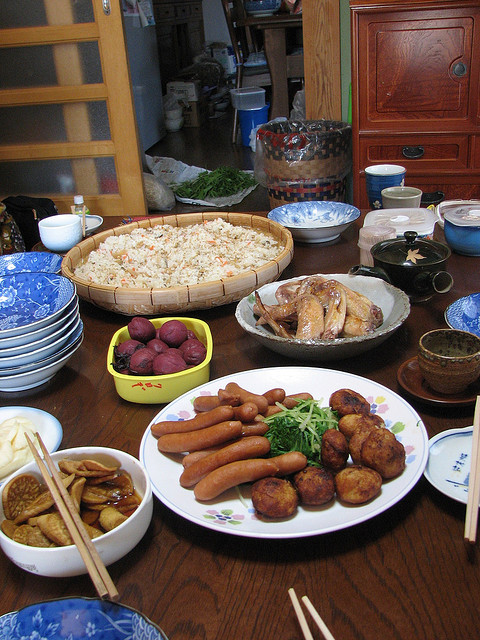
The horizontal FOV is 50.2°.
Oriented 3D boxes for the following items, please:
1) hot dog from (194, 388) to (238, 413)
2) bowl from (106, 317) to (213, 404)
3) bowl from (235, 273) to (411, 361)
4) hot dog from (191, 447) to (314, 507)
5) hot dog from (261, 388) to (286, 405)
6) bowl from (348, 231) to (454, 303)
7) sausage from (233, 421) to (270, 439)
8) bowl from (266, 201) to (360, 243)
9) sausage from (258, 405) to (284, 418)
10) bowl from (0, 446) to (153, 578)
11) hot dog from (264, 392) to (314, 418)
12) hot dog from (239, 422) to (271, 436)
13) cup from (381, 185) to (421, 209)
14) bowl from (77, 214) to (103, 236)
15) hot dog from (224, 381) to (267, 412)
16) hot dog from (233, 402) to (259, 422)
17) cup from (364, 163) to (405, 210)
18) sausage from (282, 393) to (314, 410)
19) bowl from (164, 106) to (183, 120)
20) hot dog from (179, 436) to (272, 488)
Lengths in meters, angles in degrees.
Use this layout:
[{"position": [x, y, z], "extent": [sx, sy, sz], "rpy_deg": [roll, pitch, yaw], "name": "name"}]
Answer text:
[{"position": [-0.036, 0.115, 0.731], "extent": [0.086, 0.023, 0.028], "rpy_deg": [-14, -20, 41], "name": "hot dog"}, {"position": [-0.140, 0.065, 0.929], "extent": [0.181, 0.093, 0.239], "rpy_deg": [-7, 23, -4], "name": "bowl"}, {"position": [0.147, -0.014, 0.952], "extent": [0.228, 0.084, 0.218], "rpy_deg": [-5, 23, 2], "name": "bowl"}, {"position": [0.012, 0.179, 0.594], "extent": [0.145, 0.036, 0.033], "rpy_deg": [-8, 25, -13], "name": "hot dog"}, {"position": [0.051, 0.110, 0.743], "extent": [0.035, 0.018, 0.017], "rpy_deg": [-11, -12, 11], "name": "hot dog"}, {"position": [0.415, -0.151, 1.162], "extent": [0.202, 0.150, 0.262], "rpy_deg": [-10, 19, -25], "name": "bowl"}, {"position": [0.019, 0.142, 0.669], "extent": [0.038, 0.012, 0.017], "rpy_deg": [-6, 25, -5], "name": "sausage"}, {"position": [0.235, -0.306, 1.548], "extent": [0.283, 0.133, 0.275], "rpy_deg": [-7, 23, 3], "name": "bowl"}, {"position": [0.045, 0.127, 0.727], "extent": [0.029, 0.015, 0.014], "rpy_deg": [-10, 55, -15], "name": "sausage"}, {"position": [-0.163, 0.170, 0.559], "extent": [0.145, 0.064, 0.143], "rpy_deg": [-2, 25, 1], "name": "bowl"}, {"position": [0.074, 0.114, 0.758], "extent": [0.066, 0.021, 0.030], "rpy_deg": [-30, 22, -14], "name": "hot dog"}, {"position": [0.019, 0.142, 0.668], "extent": [0.040, 0.013, 0.017], "rpy_deg": [-2, 27, -3], "name": "hot dog"}, {"position": [0.487, -0.372, 1.546], "extent": [0.094, 0.068, 0.089], "rpy_deg": [-2, 27, 1], "name": "cup"}, {"position": [-0.511, -0.335, 1.751], "extent": [0.077, 0.027, 0.076], "rpy_deg": [1, 43, -1], "name": "bowl"}, {"position": [0.006, 0.103, 0.756], "extent": [0.026, 0.024, 0.081], "rpy_deg": [-25, 33, -30], "name": "hot dog"}, {"position": [0.008, 0.121, 0.675], "extent": [0.017, 0.014, 0.034], "rpy_deg": [-11, 3, -17], "name": "hot dog"}, {"position": [0.581, -0.481, 1.990], "extent": [0.141, 0.141, 0.133], "rpy_deg": [0, 13, 0], "name": "cup"}, {"position": [0.084, 0.112, 0.734], "extent": [0.042, 0.014, 0.018], "rpy_deg": [-12, 19, -27], "name": "sausage"}, {"position": [-0.888, -2.744, 6.911], "extent": [0.200, 0.133, 0.193], "rpy_deg": [-2, 45, 2], "name": "bowl"}, {"position": [-0.019, 0.166, 0.619], "extent": [0.118, 0.031, 0.030], "rpy_deg": [-16, 57, -13], "name": "hot dog"}]
